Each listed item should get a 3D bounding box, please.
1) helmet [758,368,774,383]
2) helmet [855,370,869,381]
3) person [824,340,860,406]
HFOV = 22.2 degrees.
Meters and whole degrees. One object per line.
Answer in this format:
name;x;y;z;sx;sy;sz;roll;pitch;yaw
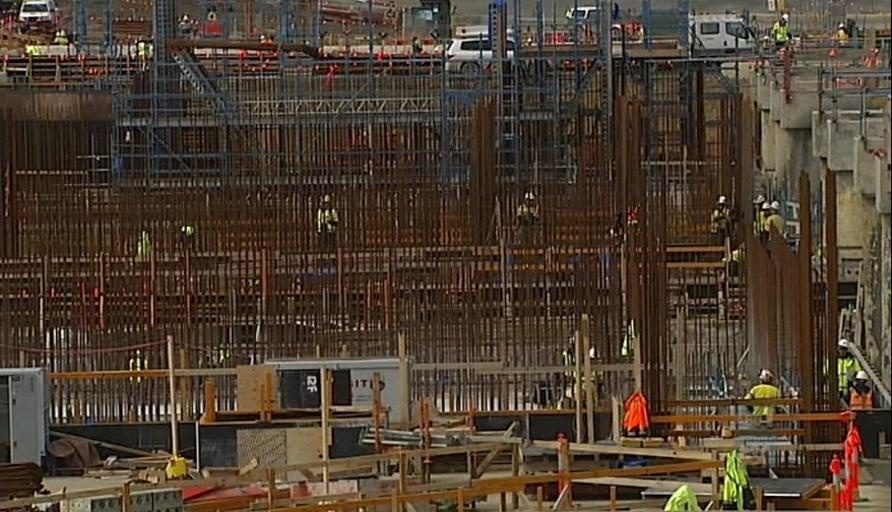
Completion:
helmet;7.834;2.951;55.608;0.308;0.321;0.336;-6;102;-11
helmet;10.269;2.967;56.263;0.313;0.200;0.207;4;87;-30
person;9.977;3.089;57.332;0.894;0.500;1.973;2;86;21
